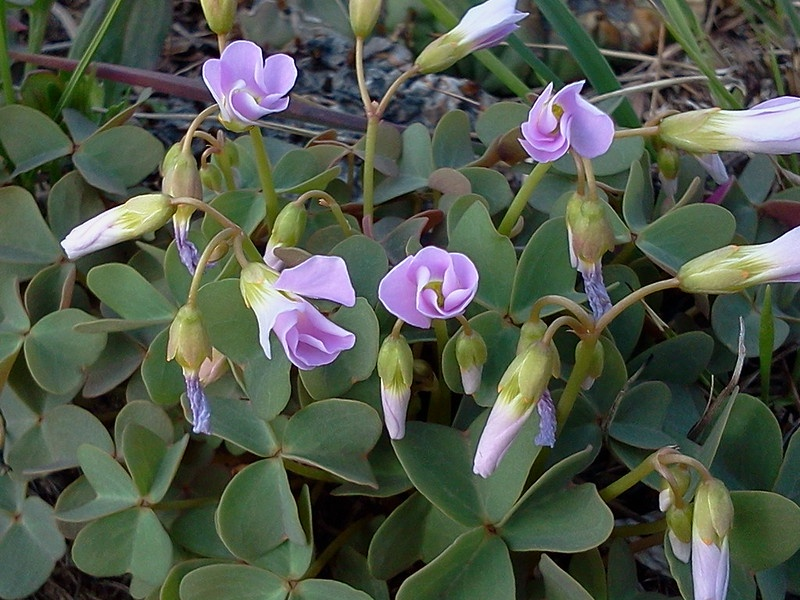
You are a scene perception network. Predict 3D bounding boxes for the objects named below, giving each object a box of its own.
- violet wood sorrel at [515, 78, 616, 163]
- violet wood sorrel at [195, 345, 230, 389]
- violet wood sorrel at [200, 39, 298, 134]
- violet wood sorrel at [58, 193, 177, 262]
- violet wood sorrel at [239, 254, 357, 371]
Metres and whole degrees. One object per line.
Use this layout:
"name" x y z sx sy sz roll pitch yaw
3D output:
"violet wood sorrel" 0.216 -0.224 0.975 0.116 0.107 0.062 34 9 0
"violet wood sorrel" -0.305 0.119 1.187 0.054 0.074 0.023 4 16 -38
"violet wood sorrel" -0.237 -0.299 1.115 0.126 0.093 0.140 -26 84 -36
"violet wood sorrel" -0.402 -0.105 1.084 0.176 0.076 0.072 -23 39 -1
"violet wood sorrel" -0.138 0.012 1.033 0.168 0.136 0.074 44 -9 1
